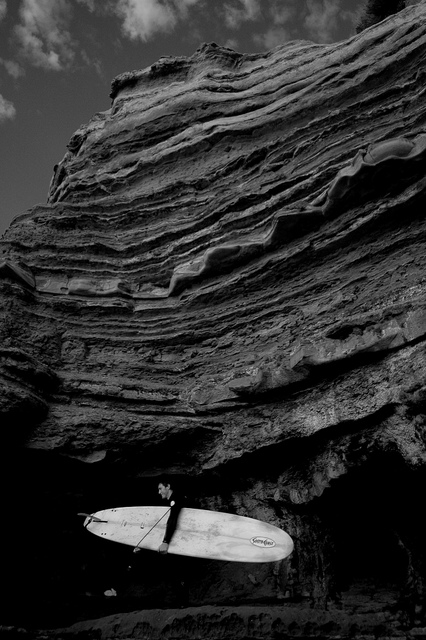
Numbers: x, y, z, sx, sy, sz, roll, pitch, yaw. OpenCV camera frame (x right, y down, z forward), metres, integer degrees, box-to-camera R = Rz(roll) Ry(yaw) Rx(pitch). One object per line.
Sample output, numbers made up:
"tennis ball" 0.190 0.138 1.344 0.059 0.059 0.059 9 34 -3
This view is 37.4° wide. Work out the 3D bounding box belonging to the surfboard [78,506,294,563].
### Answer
"surfboard" -0.197 1.570 4.707 1.638 0.408 0.315 -8 -24 22
